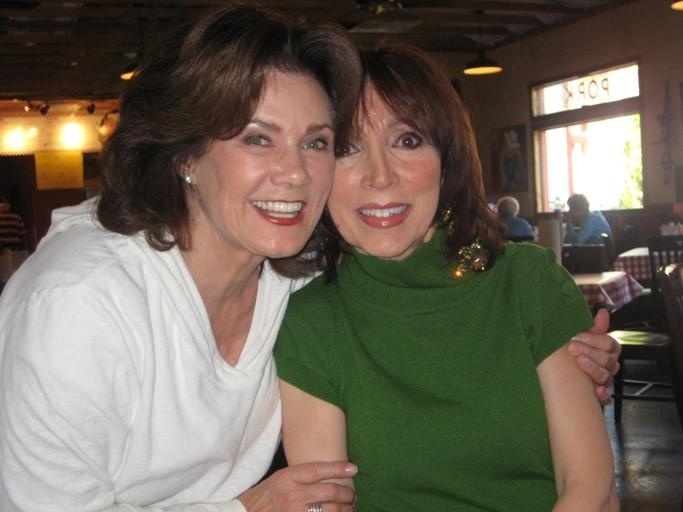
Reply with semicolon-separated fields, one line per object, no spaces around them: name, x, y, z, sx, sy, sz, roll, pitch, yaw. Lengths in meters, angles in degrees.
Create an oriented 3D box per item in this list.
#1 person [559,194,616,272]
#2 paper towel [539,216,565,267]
person;3.031;-0.192;8.622;0.544;1.188;0.495;2;20;8
paper towel;1.477;-0.109;4.810;0.149;0.365;0.145;1;23;41
